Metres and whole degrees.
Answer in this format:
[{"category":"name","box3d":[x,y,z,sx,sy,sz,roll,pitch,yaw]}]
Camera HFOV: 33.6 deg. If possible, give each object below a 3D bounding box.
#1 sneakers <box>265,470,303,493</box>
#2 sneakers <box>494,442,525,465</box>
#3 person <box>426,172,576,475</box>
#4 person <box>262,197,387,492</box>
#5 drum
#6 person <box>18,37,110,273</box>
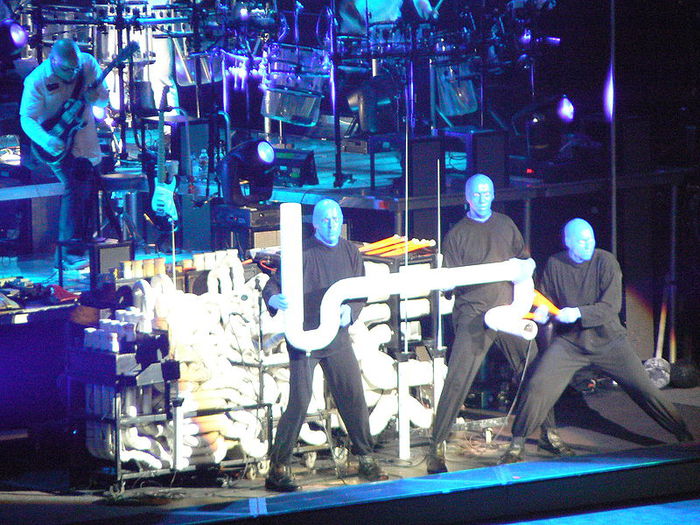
[{"category":"sneakers","box3d":[-0.501,1.572,8.364,0.312,0.197,0.110,1,2,3]},{"category":"sneakers","box3d":[1.199,1.446,8.833,0.212,0.184,0.130,-4,7,0]},{"category":"person","box3d":[1.026,0.445,8.761,1.034,2.194,0.296,-2,3,-18]},{"category":"person","box3d":[-0.201,0.595,8.309,0.848,2.081,0.395,-2,3,-14]},{"category":"drum","box3d":[-0.483,-1.807,11.603,0.790,0.697,0.740,1,8,-28]},{"category":"person","box3d":[-2.493,-1.045,10.144,0.746,1.729,0.862,-2,3,-12]}]
